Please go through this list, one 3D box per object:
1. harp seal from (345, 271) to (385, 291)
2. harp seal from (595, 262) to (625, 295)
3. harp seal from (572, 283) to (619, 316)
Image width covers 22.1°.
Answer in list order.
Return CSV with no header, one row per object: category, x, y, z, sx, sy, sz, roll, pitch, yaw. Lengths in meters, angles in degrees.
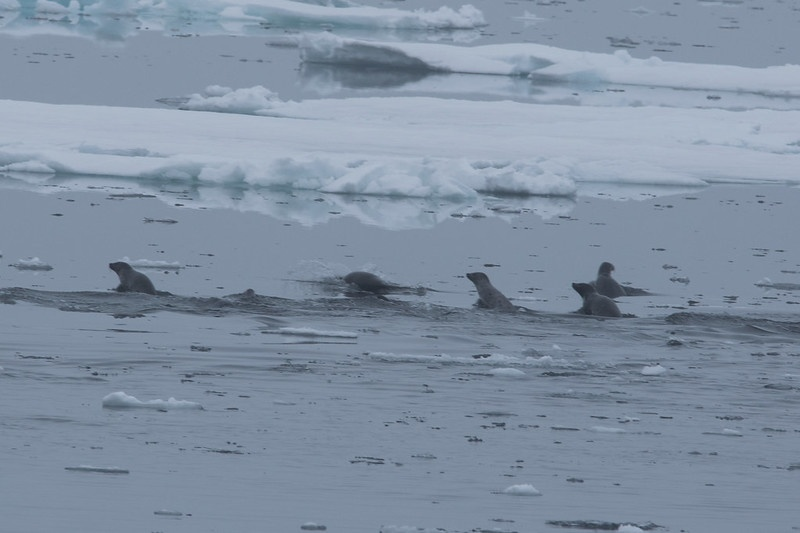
harp seal,-0.744,0.352,49.221,0.796,0.242,0.524,6,-3,-11
harp seal,5.109,0.350,50.094,0.791,0.324,0.815,3,45,-15
harp seal,4.687,0.848,48.817,0.862,0.317,0.979,-7,30,-46
